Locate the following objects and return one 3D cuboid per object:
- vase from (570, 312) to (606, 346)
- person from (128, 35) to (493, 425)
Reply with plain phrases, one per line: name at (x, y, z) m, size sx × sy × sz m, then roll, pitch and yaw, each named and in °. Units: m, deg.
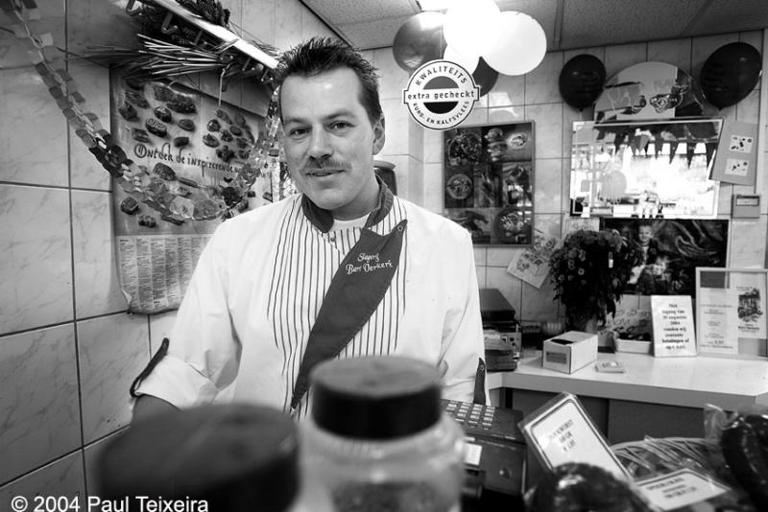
vase at (1.142, 0.380, 3.172) m, size 0.229 × 0.226 × 0.128 m, roll -1°, pitch 9°, yaw 8°
person at (-0.162, -0.104, 1.854) m, size 1.034 × 1.224 × 0.355 m, roll 1°, pitch 5°, yaw -11°
